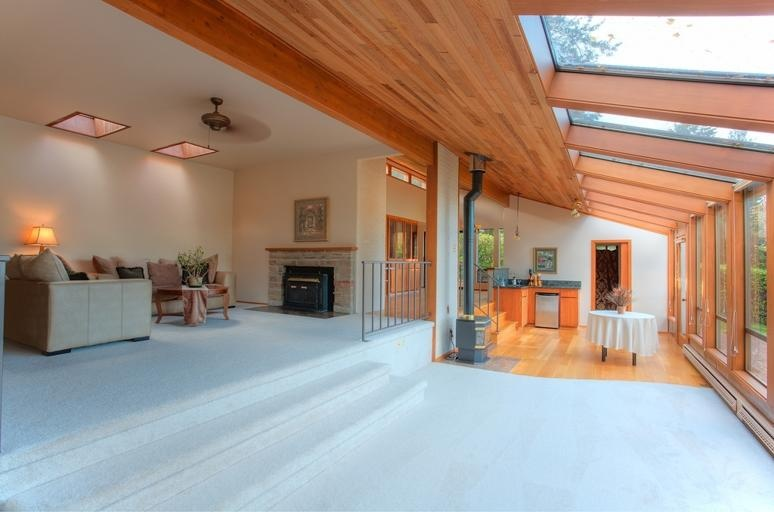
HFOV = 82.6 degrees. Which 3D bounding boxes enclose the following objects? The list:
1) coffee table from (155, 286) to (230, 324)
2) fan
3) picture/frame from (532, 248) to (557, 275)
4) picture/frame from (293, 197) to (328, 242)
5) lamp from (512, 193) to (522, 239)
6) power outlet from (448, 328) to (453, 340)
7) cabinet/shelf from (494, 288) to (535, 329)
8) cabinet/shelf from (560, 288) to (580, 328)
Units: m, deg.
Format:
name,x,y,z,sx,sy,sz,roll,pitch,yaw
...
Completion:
name,x,y,z,sx,sy,sz,roll,pitch,yaw
coffee table,-3.121,0.696,7.214,0.837,0.405,0.842,1,2,29
fan,-2.697,-2.239,6.953,1.081,0.363,1.070,-1,-1,15
picture/frame,4.060,0.111,11.328,0.725,0.778,0.064,1,-3,30
picture/frame,-1.511,-0.753,8.872,0.942,1.020,0.156,-3,-8,30
lamp,3.406,-1.024,11.522,0.216,1.160,0.477,4,11,15
power outlet,1.140,1.383,7.939,0.045,0.180,0.150,11,14,41
cabinet/shelf,3.015,1.229,10.949,0.968,1.260,1.455,-3,-5,26
cabinet/shelf,4.424,1.244,10.766,0.494,0.948,0.237,4,11,13
